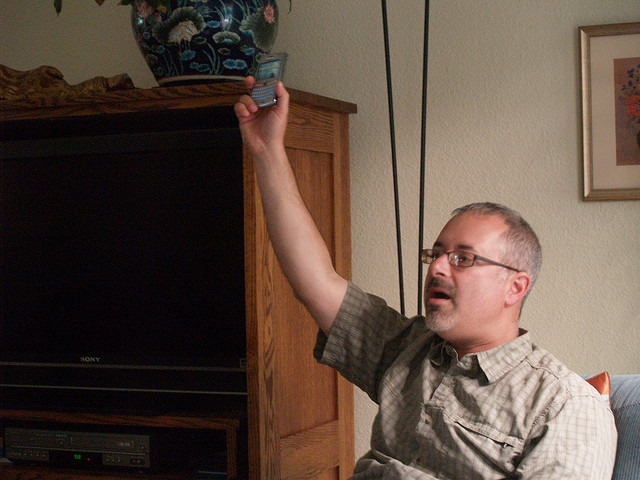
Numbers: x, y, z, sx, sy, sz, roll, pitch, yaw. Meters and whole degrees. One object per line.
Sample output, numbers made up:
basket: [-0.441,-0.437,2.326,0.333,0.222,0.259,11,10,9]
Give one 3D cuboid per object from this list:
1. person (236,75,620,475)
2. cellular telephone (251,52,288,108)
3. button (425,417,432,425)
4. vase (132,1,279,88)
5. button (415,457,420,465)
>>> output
person: [0.286,0.111,1.567,0.999,0.768,0.460,1,-1,29]
cellular telephone: [-0.150,-0.462,1.606,0.072,0.138,0.096,2,-1,-39]
button: [0.296,0.495,1.513,0.016,0.016,0.004,41,16,21]
vase: [-0.403,-0.578,1.982,0.405,0.292,0.424,-1,0,14]
button: [0.266,0.602,1.513,0.004,0.014,0.016,10,-40,5]
